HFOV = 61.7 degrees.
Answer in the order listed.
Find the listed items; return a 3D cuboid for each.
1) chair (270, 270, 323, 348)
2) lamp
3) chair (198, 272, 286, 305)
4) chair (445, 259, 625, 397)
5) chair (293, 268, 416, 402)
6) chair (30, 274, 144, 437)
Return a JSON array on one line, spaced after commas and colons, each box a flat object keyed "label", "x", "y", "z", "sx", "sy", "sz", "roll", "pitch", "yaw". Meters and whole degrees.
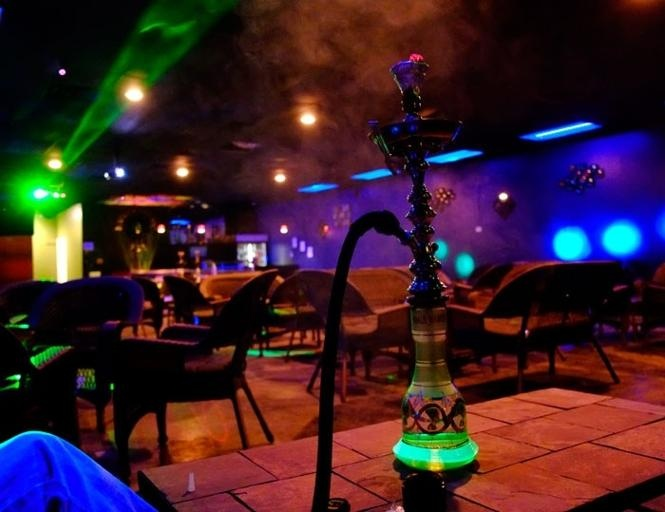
[{"label": "chair", "x": -0.513, "y": 0.535, "z": 6.291, "sx": 0.660, "sy": 0.778, "sz": 0.621, "roll": 3, "pitch": 19, "yaw": 19}, {"label": "lamp", "x": 0.159, "y": 0.138, "z": 1.721, "sx": 0.600, "sy": 1.241, "sz": 0.210, "roll": -3, "pitch": -1, "yaw": -22}, {"label": "chair", "x": -1.283, "y": 0.361, "z": 7.076, "sx": 0.855, "sy": 0.316, "sz": 0.615, "roll": 5, "pitch": -12, "yaw": -42}, {"label": "chair", "x": 1.578, "y": 0.418, "z": 4.586, "sx": 1.008, "sy": 1.031, "sz": 1.285, "roll": -10, "pitch": 15, "yaw": -26}, {"label": "chair", "x": 0.261, "y": 0.622, "z": 5.040, "sx": 1.085, "sy": 1.120, "sz": 1.111, "roll": 0, "pitch": -4, "yaw": -22}, {"label": "chair", "x": -1.744, "y": 0.619, "z": 3.797, "sx": 0.913, "sy": 0.924, "sz": 0.917, "roll": -2, "pitch": 5, "yaw": -26}]
